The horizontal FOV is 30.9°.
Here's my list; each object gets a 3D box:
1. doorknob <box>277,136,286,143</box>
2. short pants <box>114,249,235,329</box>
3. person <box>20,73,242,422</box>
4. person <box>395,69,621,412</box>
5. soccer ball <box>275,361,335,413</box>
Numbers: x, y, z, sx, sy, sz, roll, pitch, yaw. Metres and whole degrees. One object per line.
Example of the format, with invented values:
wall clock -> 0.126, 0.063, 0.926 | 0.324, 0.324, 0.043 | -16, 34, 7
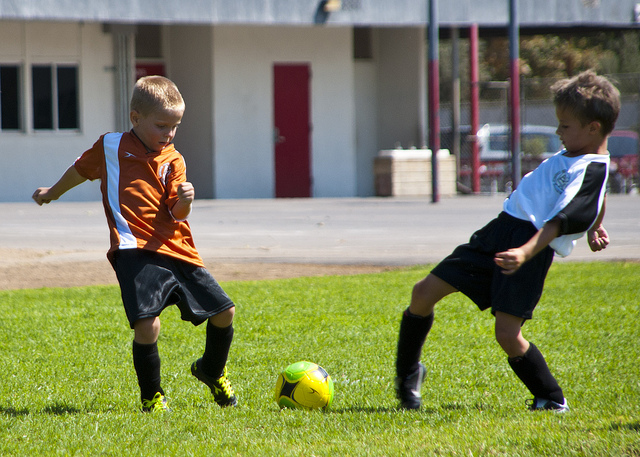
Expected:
doorknob -> -0.577, -1.322, 17.198 | 0.113, 0.092, 0.038 | -1, 7, -6
short pants -> -1.124, 0.445, 8.821 | 0.856, 0.585, 0.222 | -2, 7, -11
person -> -1.285, 0.135, 8.893 | 1.206, 2.567, 0.639 | -1, 7, -6
person -> 1.438, 0.127, 8.712 | 1.517, 2.608, 0.746 | 1, 7, 12
soccer ball -> -0.135, 1.239, 9.072 | 0.445, 0.350, 0.182 | 1, 7, 12
